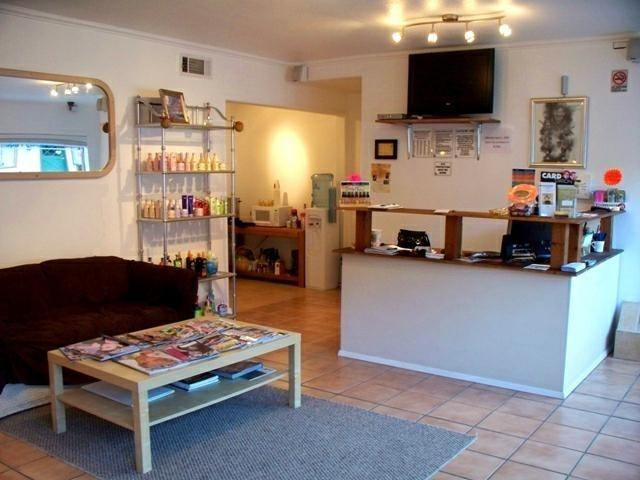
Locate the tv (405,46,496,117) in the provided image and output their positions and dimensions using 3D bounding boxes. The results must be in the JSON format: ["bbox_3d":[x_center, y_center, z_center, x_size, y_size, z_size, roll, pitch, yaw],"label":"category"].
[{"bbox_3d":[1.529,-1.796,5.481,0.840,0.578,0.120,3,11,23],"label":"tv"}]

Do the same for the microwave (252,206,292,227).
[{"bbox_3d":[-0.800,-0.391,7.784,0.643,0.317,0.309,0,8,1],"label":"microwave"}]

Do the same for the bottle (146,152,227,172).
[{"bbox_3d":[-1.477,-0.866,5.311,0.453,0.222,0.923,6,10,37],"label":"bottle"}]

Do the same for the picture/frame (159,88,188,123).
[{"bbox_3d":[-1.505,-1.359,4.908,0.237,0.348,0.439,2,9,14],"label":"picture/frame"}]

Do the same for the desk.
[{"bbox_3d":[-0.694,0.395,8.718,0.660,1.124,1.808,-11,0,-3],"label":"desk"}]

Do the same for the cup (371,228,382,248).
[{"bbox_3d":[0.520,-0.015,4.768,0.148,0.174,0.167,0,2,21],"label":"cup"}]

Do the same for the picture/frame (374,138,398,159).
[{"bbox_3d":[0.853,-1.183,6.173,0.273,0.233,0.035,4,4,32],"label":"picture/frame"}]

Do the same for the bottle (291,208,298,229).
[{"bbox_3d":[-0.410,-0.357,7.683,0.101,0.281,0.219,-1,8,-4],"label":"bottle"}]

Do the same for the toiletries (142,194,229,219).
[{"bbox_3d":[-1.461,-0.379,5.350,0.466,0.232,0.968,7,10,38],"label":"toiletries"}]

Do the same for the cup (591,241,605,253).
[{"bbox_3d":[2.733,0.060,4.737,0.104,0.108,0.110,0,8,0],"label":"cup"}]

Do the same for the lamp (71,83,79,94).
[{"bbox_3d":[-2.340,-1.445,4.598,0.069,0.094,0.068,0,4,3],"label":"lamp"}]

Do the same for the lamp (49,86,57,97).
[{"bbox_3d":[-2.470,-1.380,4.461,0.063,0.089,0.073,9,-6,39],"label":"lamp"}]
